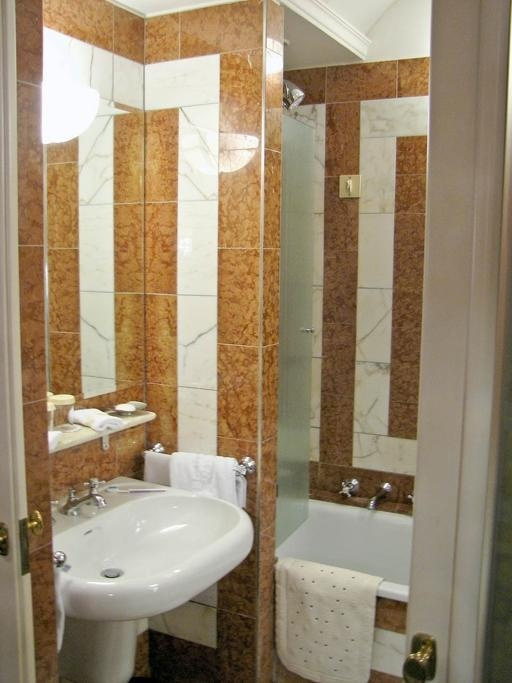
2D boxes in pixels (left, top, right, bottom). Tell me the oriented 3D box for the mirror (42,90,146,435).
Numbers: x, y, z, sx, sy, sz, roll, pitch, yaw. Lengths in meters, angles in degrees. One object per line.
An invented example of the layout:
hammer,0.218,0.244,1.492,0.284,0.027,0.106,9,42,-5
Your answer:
mirror,-0.564,-0.301,1.908,0.049,0.997,0.338,2,4,27

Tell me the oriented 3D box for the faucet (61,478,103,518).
faucet,-0.536,0.483,1.825,0.072,0.098,0.165,4,9,42

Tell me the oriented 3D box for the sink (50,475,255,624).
sink,-0.366,0.601,1.713,0.552,0.169,0.608,2,4,30

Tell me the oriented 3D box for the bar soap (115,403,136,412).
bar soap,-0.472,0.238,2.083,0.040,0.012,0.040,7,7,4
